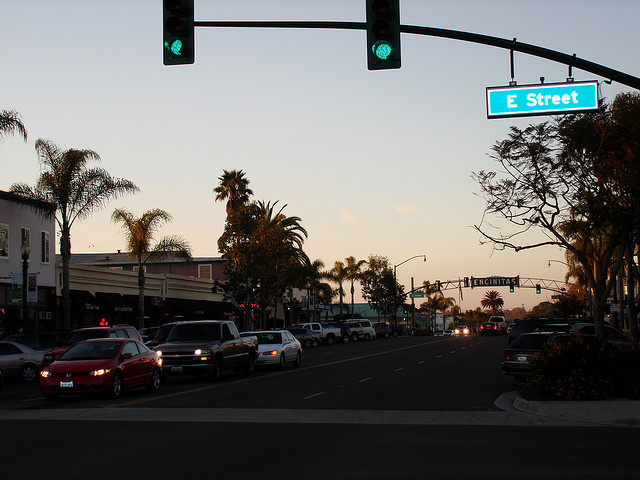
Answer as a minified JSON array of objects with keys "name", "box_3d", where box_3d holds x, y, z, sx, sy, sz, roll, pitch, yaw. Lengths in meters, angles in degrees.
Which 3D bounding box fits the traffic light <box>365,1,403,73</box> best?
[{"name":"traffic light","box_3d":[1.192,-3.949,12.934,0.659,1.293,0.390,-2,-6,-2]}]

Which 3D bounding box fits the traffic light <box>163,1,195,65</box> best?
[{"name":"traffic light","box_3d":[-2.701,-3.991,12.972,0.555,1.139,0.467,-1,-7,-16]}]

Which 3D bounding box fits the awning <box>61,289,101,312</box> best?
[{"name":"awning","box_3d":[-16.079,3.988,46.278,1.428,1.501,3.504,-3,-8,-2]}]

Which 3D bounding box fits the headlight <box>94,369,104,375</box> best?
[{"name":"headlight","box_3d":[-6.603,3.934,20.325,0.251,0.142,0.047,0,-7,-24]}]

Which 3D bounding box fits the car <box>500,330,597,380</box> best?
[{"name":"car","box_3d":[7.343,4.004,23.744,1.954,1.520,1.396,0,-8,-23]}]

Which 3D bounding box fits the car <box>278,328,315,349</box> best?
[{"name":"car","box_3d":[-1.682,8.490,58.125,2.347,1.347,1.579,8,-6,-6]}]

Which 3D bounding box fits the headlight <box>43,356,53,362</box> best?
[{"name":"headlight","box_3d":[-10.403,4.513,25.947,0.242,0.120,0.235,4,-6,-44]}]

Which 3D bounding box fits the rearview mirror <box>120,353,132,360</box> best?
[{"name":"rearview mirror","box_3d":[-6.114,3.630,21.384,0.108,0.185,0.609,-4,-8,15]}]

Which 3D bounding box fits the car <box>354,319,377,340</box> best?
[{"name":"car","box_3d":[5.266,9.411,73.344,2.345,1.610,1.318,-3,2,-36]}]

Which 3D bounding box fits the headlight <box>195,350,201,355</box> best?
[{"name":"headlight","box_3d":[-4.506,4.105,25.020,0.207,0.171,0.080,-1,-7,-15]}]

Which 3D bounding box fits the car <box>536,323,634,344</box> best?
[{"name":"car","box_3d":[9.502,3.362,24.646,2.577,1.155,1.279,-2,-2,-10]}]

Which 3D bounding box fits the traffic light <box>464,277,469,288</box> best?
[{"name":"traffic light","box_3d":[17.992,5.102,83.998,0.397,0.963,0.753,-5,-7,18]}]

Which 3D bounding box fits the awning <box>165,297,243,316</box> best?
[{"name":"awning","box_3d":[-10.806,6.182,63.016,1.525,1.561,11.135,-6,-9,19]}]

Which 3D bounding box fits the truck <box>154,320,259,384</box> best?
[{"name":"truck","box_3d":[-4.148,4.369,26.764,1.838,1.496,3.812,-3,-9,14]}]

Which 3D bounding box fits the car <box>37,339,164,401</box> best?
[{"name":"car","box_3d":[-6.780,4.006,21.292,3.642,1.864,2.214,0,-8,-26]}]

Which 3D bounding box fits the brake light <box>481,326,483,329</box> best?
[{"name":"brake light","box_3d":[18.970,10.184,79.773,0.160,0.288,0.689,-4,-8,13]}]

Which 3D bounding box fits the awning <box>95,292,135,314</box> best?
[{"name":"awning","box_3d":[-15.063,4.504,50.080,1.485,1.462,3.456,-5,-8,12]}]

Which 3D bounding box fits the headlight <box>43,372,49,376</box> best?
[{"name":"headlight","box_3d":[-8.224,3.992,20.378,0.113,0.125,0.033,1,-3,-12]}]

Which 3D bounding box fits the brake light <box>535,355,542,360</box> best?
[{"name":"brake light","box_3d":[6.276,3.366,19.561,0.162,0.066,0.144,1,-1,33]}]

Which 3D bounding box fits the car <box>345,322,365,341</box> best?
[{"name":"car","box_3d":[3.864,9.314,70.738,1.971,1.304,1.273,6,-8,-24]}]
